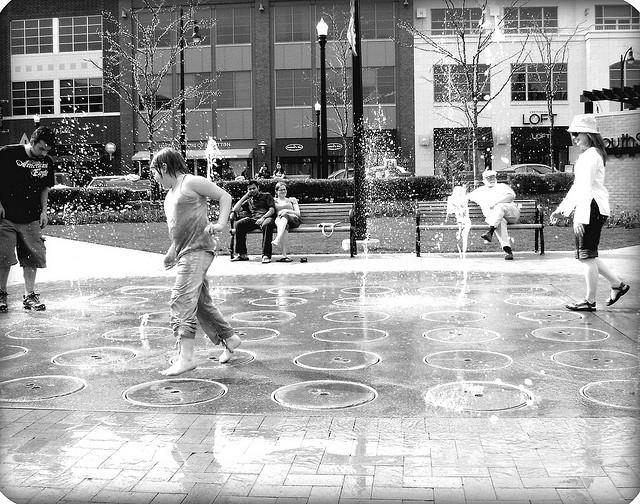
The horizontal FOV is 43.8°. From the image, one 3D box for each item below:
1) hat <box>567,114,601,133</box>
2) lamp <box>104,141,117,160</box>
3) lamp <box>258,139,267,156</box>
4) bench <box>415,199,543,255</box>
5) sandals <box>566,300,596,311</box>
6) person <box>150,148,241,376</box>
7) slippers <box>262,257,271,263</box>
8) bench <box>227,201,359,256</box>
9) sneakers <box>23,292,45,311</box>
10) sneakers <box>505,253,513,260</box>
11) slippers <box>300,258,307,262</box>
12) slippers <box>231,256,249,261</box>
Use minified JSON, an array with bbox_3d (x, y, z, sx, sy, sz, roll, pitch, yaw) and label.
[{"bbox_3d":[3.138,-1.485,9.359,0.417,0.195,0.413,2,1,31],"label":"hat"},{"bbox_3d":[-12.377,-5.979,47.354,0.699,1.080,1.108,-4,8,-13],"label":"lamp"},{"bbox_3d":[-3.189,-5.866,45.057,0.403,0.954,0.468,1,8,18],"label":"lamp"},{"bbox_3d":[3.239,-0.556,16.267,2.549,0.859,0.820,0,13,6],"label":"bench"},{"bbox_3d":[3.103,0.640,9.400,0.276,0.098,0.147,4,1,12],"label":"sandals"},{"bbox_3d":[-1.142,0.063,7.360,0.736,2.043,0.774,-3,8,-6],"label":"person"},{"bbox_3d":[-0.966,0.141,14.473,0.138,0.110,0.159,-3,8,-8],"label":"slippers"},{"bbox_3d":[-0.536,-0.520,16.761,2.598,0.952,0.828,3,13,18],"label":"bench"},{"bbox_3d":[-3.544,0.637,10.088,0.441,0.183,0.149,1,3,28],"label":"sneakers"},{"bbox_3d":[3.401,0.078,14.234,0.117,0.103,0.281,-2,-2,10],"label":"sneakers"},{"bbox_3d":[-0.281,0.149,14.634,0.099,0.056,0.064,0,-1,-6],"label":"slippers"},{"bbox_3d":[-1.484,0.117,14.974,0.304,0.103,0.102,2,1,-10],"label":"slippers"}]
